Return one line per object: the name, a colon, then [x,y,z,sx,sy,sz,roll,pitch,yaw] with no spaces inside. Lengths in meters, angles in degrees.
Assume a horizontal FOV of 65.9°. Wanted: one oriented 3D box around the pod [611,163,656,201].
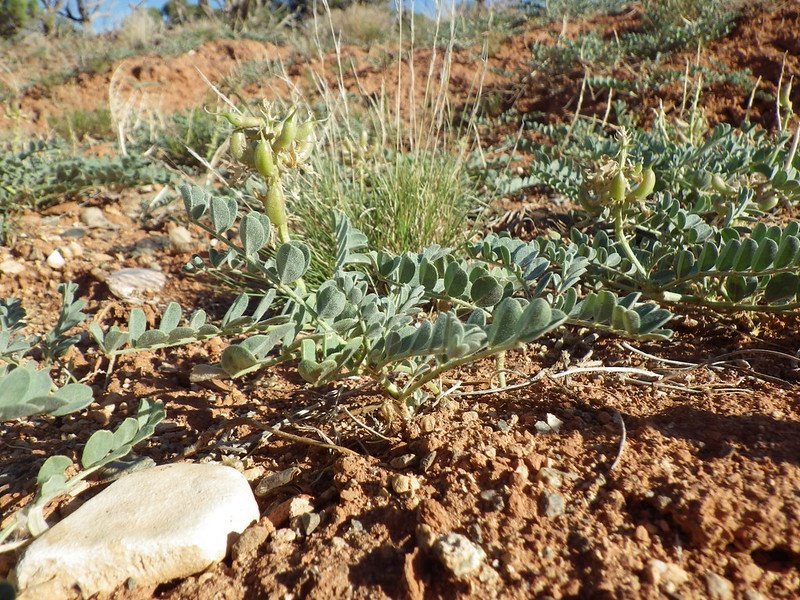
pod: [0.739,-0.367,1.966,0.087,0.125,0.106,19,69,19]
